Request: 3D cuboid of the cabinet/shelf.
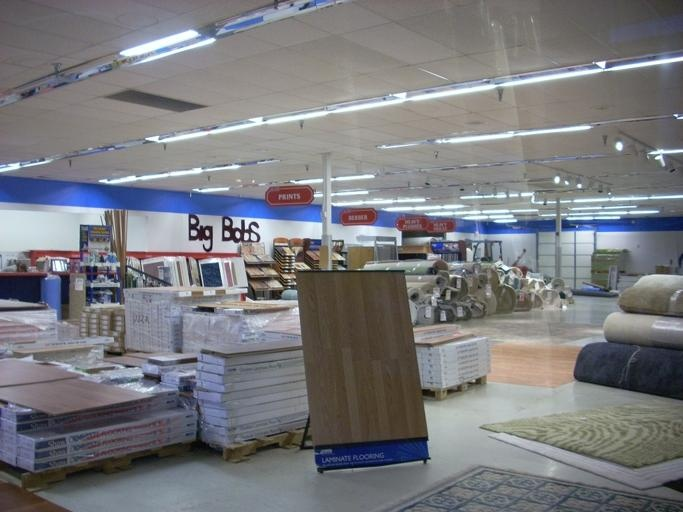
[{"bbox_3d":[-1.869,0.342,15.222,0.870,1.251,3.360,-6,-4,44],"label":"cabinet/shelf"}]
